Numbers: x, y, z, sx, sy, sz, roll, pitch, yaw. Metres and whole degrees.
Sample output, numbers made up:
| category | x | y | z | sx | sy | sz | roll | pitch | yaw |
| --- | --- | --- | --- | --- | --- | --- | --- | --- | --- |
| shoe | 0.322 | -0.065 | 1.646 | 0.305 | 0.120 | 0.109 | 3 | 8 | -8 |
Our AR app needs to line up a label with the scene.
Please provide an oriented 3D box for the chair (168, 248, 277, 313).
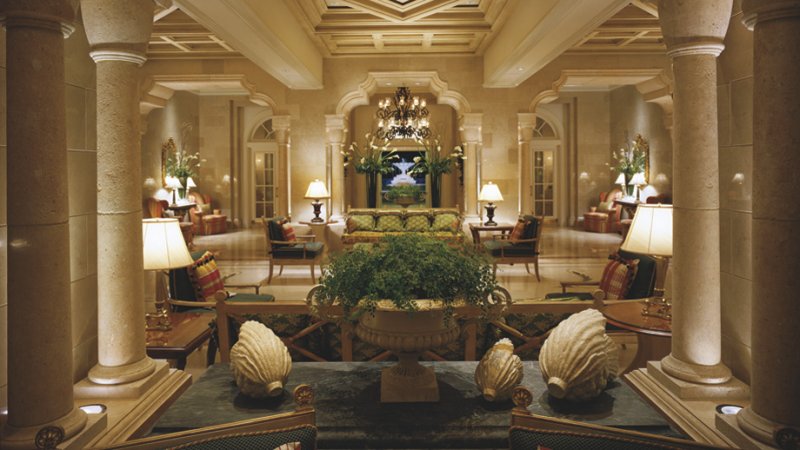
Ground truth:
| category | x | y | z | sx | sy | sz | roll | pitch | yaw |
| --- | --- | --- | --- | --- | --- | --- | --- | --- | --- |
| chair | -2.079 | 0.679 | 6.159 | 0.915 | 0.989 | 0.834 | 1 | 4 | 8 |

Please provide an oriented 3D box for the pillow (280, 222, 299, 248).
| category | x | y | z | sx | sy | sz | roll | pitch | yaw |
| --- | --- | --- | --- | --- | --- | --- | --- | --- | --- |
| pillow | -2.049 | 0.186 | 9.792 | 0.069 | 0.270 | 0.462 | -20 | 2 | 8 |

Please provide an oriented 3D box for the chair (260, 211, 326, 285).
| category | x | y | z | sx | sy | sz | roll | pitch | yaw |
| --- | --- | --- | --- | --- | --- | --- | --- | --- | --- |
| chair | -1.971 | 0.405 | 9.371 | 1.334 | 1.305 | 1.122 | 0 | 6 | 0 |

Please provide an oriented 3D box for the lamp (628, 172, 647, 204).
| category | x | y | z | sx | sy | sz | roll | pitch | yaw |
| --- | --- | --- | --- | --- | --- | --- | --- | --- | --- |
| lamp | 6.463 | -1.078 | 14.537 | 0.378 | 0.732 | 0.739 | -1 | 5 | -3 |

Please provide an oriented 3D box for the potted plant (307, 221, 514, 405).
| category | x | y | z | sx | sy | sz | roll | pitch | yaw |
| --- | --- | --- | --- | --- | --- | --- | --- | --- | --- |
| potted plant | 0.081 | 0.482 | 4.038 | 1.924 | 1.279 | 1.092 | 0 | -1 | -3 |

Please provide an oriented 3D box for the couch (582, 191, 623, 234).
| category | x | y | z | sx | sy | sz | roll | pitch | yaw |
| --- | --- | --- | --- | --- | --- | --- | --- | --- | --- |
| couch | 6.098 | -0.382 | 15.348 | 1.265 | 1.309 | 1.189 | 0 | 1 | -10 |

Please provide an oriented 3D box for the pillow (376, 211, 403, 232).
| category | x | y | z | sx | sy | sz | roll | pitch | yaw |
| --- | --- | --- | --- | --- | --- | --- | --- | --- | --- |
| pillow | -0.212 | -0.072 | 11.085 | 0.471 | 0.394 | 0.189 | 2 | -7 | 2 |

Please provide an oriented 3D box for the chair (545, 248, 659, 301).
| category | x | y | z | sx | sy | sz | roll | pitch | yaw |
| --- | --- | --- | --- | --- | --- | --- | --- | --- | --- |
| chair | 2.285 | 0.583 | 5.895 | 0.865 | 0.783 | 0.625 | 1 | 10 | 11 |

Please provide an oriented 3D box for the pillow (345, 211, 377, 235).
| category | x | y | z | sx | sy | sz | roll | pitch | yaw |
| --- | --- | --- | --- | --- | --- | --- | --- | --- | --- |
| pillow | -0.817 | -0.079 | 10.980 | 0.840 | 0.475 | 0.423 | 0 | 2 | 0 |

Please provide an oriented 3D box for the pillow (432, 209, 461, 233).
| category | x | y | z | sx | sy | sz | roll | pitch | yaw |
| --- | --- | --- | --- | --- | --- | --- | --- | --- | --- |
| pillow | 0.965 | -0.077 | 10.933 | 0.536 | 0.443 | 0.145 | 0 | -5 | -2 |

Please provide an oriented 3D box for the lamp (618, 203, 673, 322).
| category | x | y | z | sx | sy | sz | roll | pitch | yaw |
| --- | --- | --- | --- | --- | --- | --- | --- | --- | --- |
| lamp | 2.304 | 0.308 | 4.969 | 0.412 | 1.005 | 0.650 | 1 | 5 | 23 |

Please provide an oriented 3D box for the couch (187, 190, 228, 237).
| category | x | y | z | sx | sy | sz | roll | pitch | yaw |
| --- | --- | --- | --- | --- | --- | --- | --- | --- | --- |
| couch | -5.503 | -0.292 | 14.998 | 1.363 | 1.288 | 1.132 | 1 | 5 | 17 |

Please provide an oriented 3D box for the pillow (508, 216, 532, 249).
| category | x | y | z | sx | sy | sz | roll | pitch | yaw |
| --- | --- | --- | --- | --- | --- | --- | --- | --- | --- |
| pillow | 2.185 | 0.109 | 9.399 | 0.216 | 0.491 | 0.526 | 28 | -12 | -27 |

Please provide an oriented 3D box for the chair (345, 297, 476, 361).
| category | x | y | z | sx | sy | sz | roll | pitch | yaw |
| --- | --- | --- | --- | --- | --- | --- | --- | --- | --- |
| chair | 0.031 | 0.648 | 3.626 | 0.497 | 0.197 | 0.504 | 0 | -1 | 44 |

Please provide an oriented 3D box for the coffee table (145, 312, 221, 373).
| category | x | y | z | sx | sy | sz | roll | pitch | yaw |
| --- | --- | --- | --- | --- | --- | --- | --- | --- | --- |
| coffee table | -1.982 | 1.021 | 4.831 | 0.630 | 0.182 | 0.870 | 3 | 13 | 3 |

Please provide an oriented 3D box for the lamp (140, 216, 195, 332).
| category | x | y | z | sx | sy | sz | roll | pitch | yaw |
| --- | --- | --- | --- | --- | --- | --- | --- | --- | --- |
| lamp | -2.229 | 0.445 | 5.118 | 0.425 | 1.030 | 1.136 | -3 | 5 | -24 |

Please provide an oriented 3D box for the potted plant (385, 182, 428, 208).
| category | x | y | z | sx | sy | sz | roll | pitch | yaw |
| --- | --- | --- | --- | --- | --- | --- | --- | --- | --- |
| potted plant | 0.122 | -0.687 | 12.294 | 0.899 | 0.500 | 0.894 | 0 | 0 | 1 |

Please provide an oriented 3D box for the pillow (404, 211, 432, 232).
| category | x | y | z | sx | sy | sz | roll | pitch | yaw |
| --- | --- | --- | --- | --- | --- | --- | --- | --- | --- |
| pillow | 0.374 | -0.065 | 11.008 | 0.468 | 0.242 | 0.430 | 1 | 5 | 1 |

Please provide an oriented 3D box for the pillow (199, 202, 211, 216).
| category | x | y | z | sx | sy | sz | roll | pitch | yaw |
| --- | --- | --- | --- | --- | --- | --- | --- | --- | --- |
| pillow | -5.660 | -0.460 | 15.375 | 0.128 | 0.235 | 0.399 | -23 | 3 | 18 |

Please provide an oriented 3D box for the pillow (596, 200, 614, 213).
| category | x | y | z | sx | sy | sz | roll | pitch | yaw |
| --- | --- | --- | --- | --- | --- | --- | --- | --- | --- |
| pillow | 5.886 | -0.513 | 15.284 | 0.104 | 0.299 | 0.338 | 32 | -12 | -27 |

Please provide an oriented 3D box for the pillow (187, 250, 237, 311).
| category | x | y | z | sx | sy | sz | roll | pitch | yaw |
| --- | --- | --- | --- | --- | --- | --- | --- | --- | --- |
| pillow | -2.300 | 0.665 | 6.108 | 0.258 | 0.671 | 0.644 | -10 | 2 | 19 |
